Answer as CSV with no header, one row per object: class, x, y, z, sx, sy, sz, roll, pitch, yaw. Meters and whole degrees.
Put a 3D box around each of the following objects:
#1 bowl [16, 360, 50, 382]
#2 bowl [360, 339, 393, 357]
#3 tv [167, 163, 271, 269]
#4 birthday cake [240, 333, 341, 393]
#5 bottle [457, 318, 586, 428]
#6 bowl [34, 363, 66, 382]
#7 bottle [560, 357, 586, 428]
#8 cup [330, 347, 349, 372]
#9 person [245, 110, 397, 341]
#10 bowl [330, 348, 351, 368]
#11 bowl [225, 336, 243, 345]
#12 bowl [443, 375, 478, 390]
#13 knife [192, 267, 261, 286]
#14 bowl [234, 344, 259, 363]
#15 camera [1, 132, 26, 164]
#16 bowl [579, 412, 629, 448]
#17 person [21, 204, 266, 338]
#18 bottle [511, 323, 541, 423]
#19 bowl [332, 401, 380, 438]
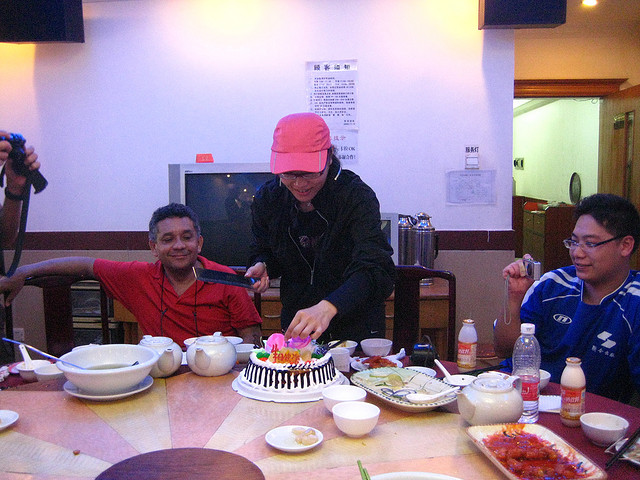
bowl,-1.147,0.506,2.051,0.084,0.038,0.088,1,1,0
bowl,0.239,0.461,2.216,0.122,0.066,0.158,1,8,14
tv,-0.809,-0.147,4.132,0.926,0.795,0.491,-4,-3,-41
birthday cake,-0.116,0.478,2.033,0.436,0.168,0.457,-2,-1,12
bottle,0.717,0.446,1.897,0.162,0.207,0.511,-14,18,-35
bowl,-1.057,0.498,2.034,0.081,0.041,0.080,2,4,0
bottle,0.831,0.499,1.709,0.107,0.219,0.112,0,1,0
cup,0.079,0.472,2.087,0.064,0.070,0.090,0,1,14
person,0.038,-0.034,2.339,0.681,1.064,0.860,-3,8,-17
bowl,0.081,0.484,2.102,0.078,0.057,0.050,0,-3,-10
bowl,-0.379,0.443,2.292,0.088,0.025,0.091,3,-1,0
bowl,0.519,0.513,1.913,0.073,0.019,0.128,5,9,37
knife,-0.382,0.179,2.274,0.344,0.026,0.093,11,42,-38
bowl,-0.321,0.475,2.226,0.082,0.036,0.086,-1,4,0
camera,-1.404,-0.417,2.384,0.092,0.134,0.131,-5,9,-31
bowl,0.883,0.591,1.617,0.133,0.069,0.122,-1,7,0
person,-1.031,0.172,3.179,0.883,0.982,0.303,-4,18,-3
bottle,0.724,0.451,1.803,0.109,0.382,0.115,0,1,0
bowl,0.113,0.574,1.644,0.138,0.079,0.144,-2,1,0
